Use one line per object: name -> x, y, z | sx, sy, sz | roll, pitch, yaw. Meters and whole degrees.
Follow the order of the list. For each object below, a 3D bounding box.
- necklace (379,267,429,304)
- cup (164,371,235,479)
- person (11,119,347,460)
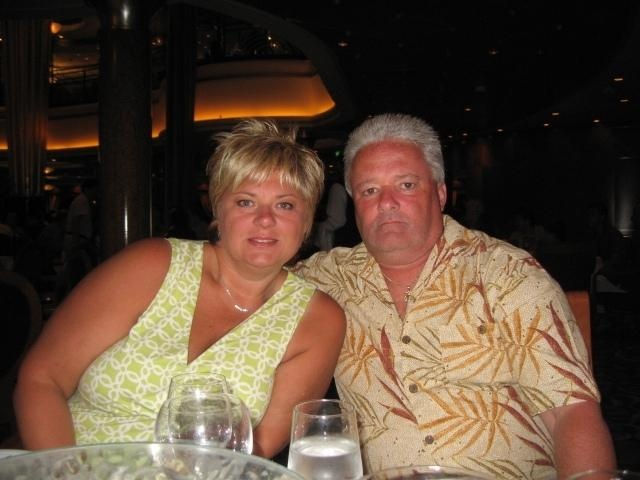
necklace -> 0.337, 0.167, 2.326 | 0.129, 0.175, 0.064 | 0, 31, -2
cup -> -0.287, 0.427, 1.379 | 0.152, 0.178, 0.158 | 1, -18, 0
person -> -0.480, 0.137, 2.124 | 1.144, 1.295, 0.475 | 3, -2, -29
